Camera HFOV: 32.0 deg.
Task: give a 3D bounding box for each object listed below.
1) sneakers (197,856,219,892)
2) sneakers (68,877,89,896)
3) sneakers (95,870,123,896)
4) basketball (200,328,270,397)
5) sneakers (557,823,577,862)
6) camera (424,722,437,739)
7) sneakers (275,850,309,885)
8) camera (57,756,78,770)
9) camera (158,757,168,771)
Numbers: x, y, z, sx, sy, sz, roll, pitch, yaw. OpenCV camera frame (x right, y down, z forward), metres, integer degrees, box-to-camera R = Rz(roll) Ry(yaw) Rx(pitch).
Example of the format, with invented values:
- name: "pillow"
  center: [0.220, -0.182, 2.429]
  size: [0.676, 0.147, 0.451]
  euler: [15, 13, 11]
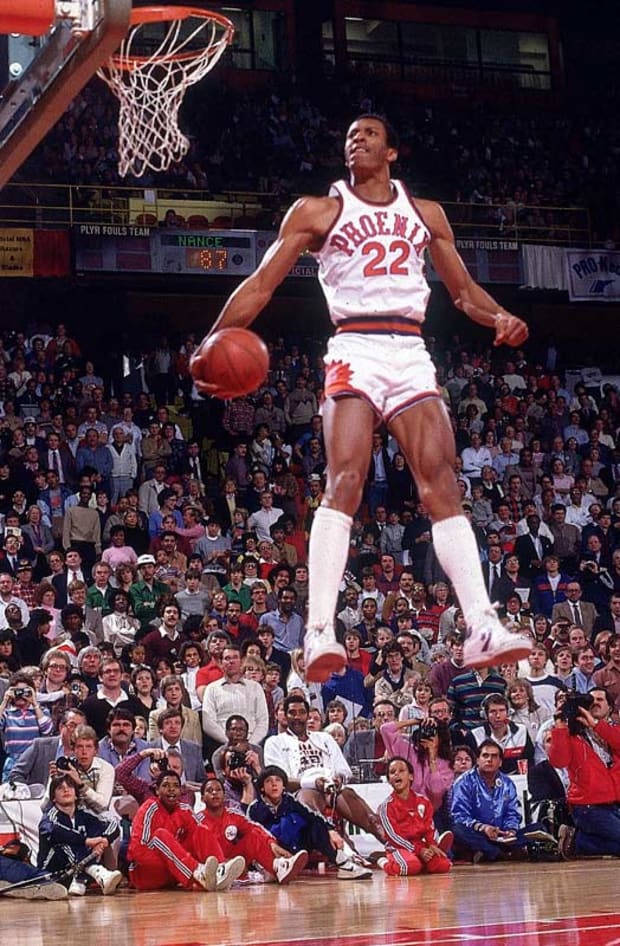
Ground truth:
- name: "sneakers"
  center: [-0.577, 2.258, 6.082]
  size: [0.107, 0.231, 0.081]
  euler: [15, 42, 26]
- name: "sneakers"
  center: [-1.353, 2.395, 6.236]
  size: [0.078, 0.080, 0.210]
  euler: [4, -22, -5]
- name: "sneakers"
  center: [-1.174, 2.352, 6.186]
  size: [0.110, 0.080, 0.244]
  euler: [28, -32, -11]
- name: "basketball"
  center: [-0.240, -0.339, 3.286]
  size: [0.233, 0.215, 0.198]
  euler: [-1, 6, -12]
- name: "sneakers"
  center: [1.723, 2.459, 7.219]
  size: [0.126, 0.254, 0.093]
  euler: [-1, -6, -9]
- name: "camera"
  center: [0.864, 1.814, 7.623]
  size: [0.099, 0.125, 0.036]
  euler: [-2, 7, -21]
- name: "sneakers"
  center: [-0.123, 2.315, 6.369]
  size: [0.166, 0.217, 0.197]
  euler: [-2, 7, -18]
- name: "camera"
  center: [-1.482, 1.752, 6.555]
  size: [0.114, 0.100, 0.118]
  euler: [0, -1, -13]
- name: "camera"
  center: [-0.932, 1.839, 6.807]
  size: [0.061, 0.065, 0.097]
  euler: [-1, 6, -10]
